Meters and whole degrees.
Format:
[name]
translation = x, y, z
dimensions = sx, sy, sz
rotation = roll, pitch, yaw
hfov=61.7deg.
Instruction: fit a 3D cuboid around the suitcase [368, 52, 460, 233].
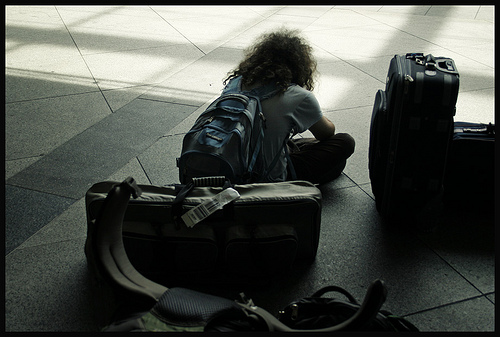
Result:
[suitcase]
translation = 1.131, -0.186, 2.800
dimensions = 0.498, 1.032, 0.742
rotation = 2, 33, -3
